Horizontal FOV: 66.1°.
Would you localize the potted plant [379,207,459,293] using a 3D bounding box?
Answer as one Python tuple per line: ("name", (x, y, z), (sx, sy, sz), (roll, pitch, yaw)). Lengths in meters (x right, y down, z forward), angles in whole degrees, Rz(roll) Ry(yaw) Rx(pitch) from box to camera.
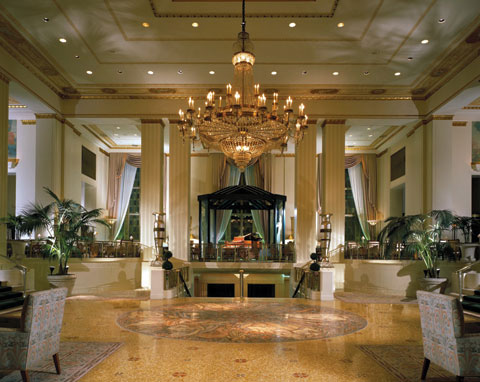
("potted plant", (5.552, 1.588, 11.307), (1.813, 1.947, 2.550), (-3, -7, 31))
